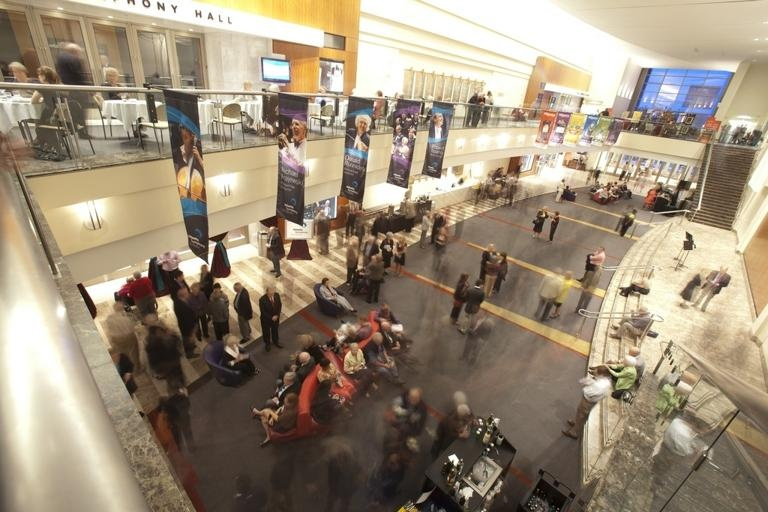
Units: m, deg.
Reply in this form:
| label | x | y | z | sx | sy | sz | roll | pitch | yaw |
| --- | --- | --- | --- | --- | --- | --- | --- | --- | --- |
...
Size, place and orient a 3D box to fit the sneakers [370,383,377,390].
| label | x | y | z | sx | sy | sz | roll | pitch | yaw |
| --- | --- | --- | --- | --- | --- | --- | --- | --- | --- |
| sneakers | -0.236 | 3.198 | 11.102 | 0.081 | 0.139 | 0.139 | 2 | -29 | 45 |

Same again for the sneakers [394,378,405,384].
| label | x | y | z | sx | sy | sz | roll | pitch | yaw |
| --- | --- | --- | --- | --- | --- | --- | --- | --- | --- |
| sneakers | 0.379 | 3.125 | 11.280 | 0.262 | 0.182 | 0.092 | 7 | 22 | 16 |

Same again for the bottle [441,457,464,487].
| label | x | y | z | sx | sy | sz | roll | pitch | yaw |
| --- | --- | --- | --- | --- | --- | --- | --- | --- | --- |
| bottle | 1.406 | 4.370 | 9.295 | 0.379 | 0.352 | 0.574 | 15 | 24 | 22 |

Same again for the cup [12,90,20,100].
| label | x | y | z | sx | sy | sz | roll | pitch | yaw |
| --- | --- | --- | --- | --- | --- | --- | --- | --- | --- |
| cup | -7.127 | -3.118 | 8.793 | 0.133 | 0.128 | 0.114 | 12 | 23 | -1 |

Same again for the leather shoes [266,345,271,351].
| label | x | y | z | sx | sy | sz | roll | pitch | yaw |
| --- | --- | --- | --- | --- | --- | --- | --- | --- | --- |
| leather shoes | -3.008 | 2.389 | 11.805 | 0.083 | 0.190 | 0.133 | -3 | 7 | -7 |
